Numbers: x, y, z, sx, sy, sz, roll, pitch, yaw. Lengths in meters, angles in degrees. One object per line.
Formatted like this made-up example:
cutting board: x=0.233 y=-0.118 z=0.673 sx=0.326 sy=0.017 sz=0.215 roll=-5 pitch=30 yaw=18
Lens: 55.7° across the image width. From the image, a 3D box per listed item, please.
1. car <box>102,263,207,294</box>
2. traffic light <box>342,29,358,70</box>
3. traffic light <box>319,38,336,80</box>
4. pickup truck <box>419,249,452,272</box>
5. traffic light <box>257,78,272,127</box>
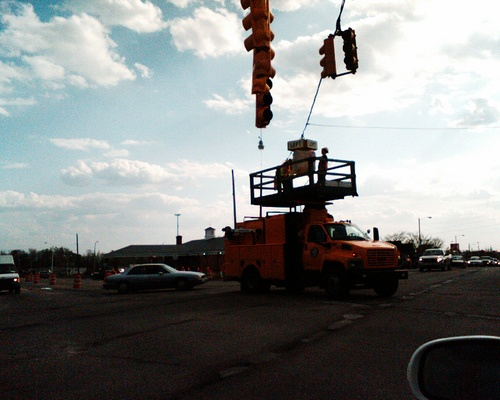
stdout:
car: x=-4.816 y=3.859 z=23.396 sx=4.732 sy=1.320 sz=0.717 roll=-2 pitch=-5 yaw=4
traffic light: x=2.505 y=-3.778 z=11.894 sx=0.339 sy=1.230 sz=0.665 roll=-2 pitch=-5 yaw=11
traffic light: x=1.996 y=-3.671 z=12.147 sx=0.431 sy=1.195 sz=0.642 roll=-2 pitch=-5 yaw=9
pickup truck: x=16.444 y=5.324 z=42.040 sx=1.727 sy=1.479 sz=3.852 roll=-5 pitch=-15 yaw=23
traffic light: x=0.359 y=-2.532 z=12.421 sx=0.422 sy=1.394 sz=0.480 roll=-1 pitch=-5 yaw=0
